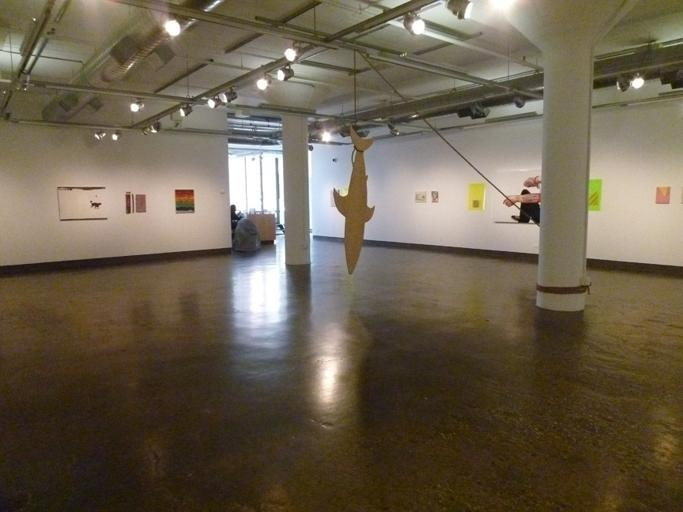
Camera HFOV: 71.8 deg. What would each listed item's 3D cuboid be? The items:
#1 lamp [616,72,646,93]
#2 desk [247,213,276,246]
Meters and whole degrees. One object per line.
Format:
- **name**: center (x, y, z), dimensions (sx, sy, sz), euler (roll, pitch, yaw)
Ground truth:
- **lamp**: center (5.359, -3.219, 8.734), dimensions (0.523, 0.215, 0.480), euler (-10, 13, -43)
- **desk**: center (-3.047, -1.155, 18.317), dimensions (0.835, 1.758, 1.676), euler (-1, 5, -7)
